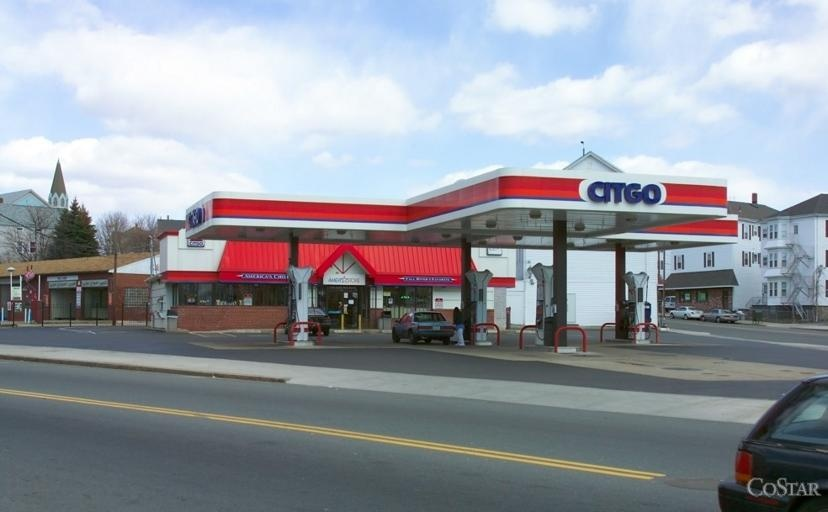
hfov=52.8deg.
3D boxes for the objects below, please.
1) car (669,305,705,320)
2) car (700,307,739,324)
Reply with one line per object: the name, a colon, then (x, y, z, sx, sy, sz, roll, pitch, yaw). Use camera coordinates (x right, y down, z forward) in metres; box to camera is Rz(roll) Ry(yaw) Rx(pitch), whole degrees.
car: (26.818, 5.611, 82.167, 1.310, 0.869, 2.754, 1, 2, -27)
car: (27.606, 5.426, 75.324, 1.255, 0.726, 2.735, 1, 1, -22)
